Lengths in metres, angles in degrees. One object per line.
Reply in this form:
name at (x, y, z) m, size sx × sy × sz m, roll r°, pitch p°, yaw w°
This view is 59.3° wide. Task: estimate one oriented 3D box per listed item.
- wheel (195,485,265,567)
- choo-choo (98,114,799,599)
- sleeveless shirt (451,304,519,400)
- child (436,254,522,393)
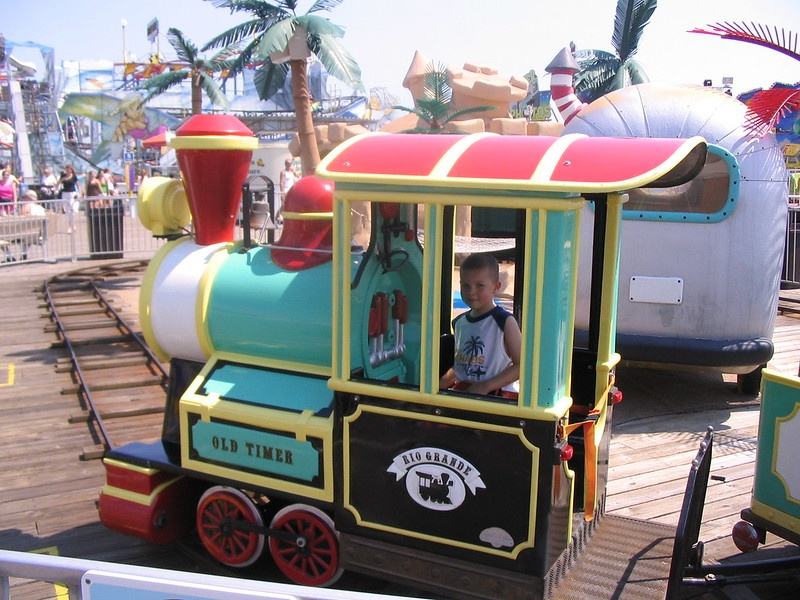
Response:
wheel at (-1.117, 1.511, 4.645) m, size 0.556 × 0.591 × 0.068 m, roll 4°, pitch 9°, yaw 25°
choo-choo at (0.517, 0.444, 4.863) m, size 3.503 × 2.617 × 1.604 m, roll 6°, pitch 13°, yaw 32°
sleeveless shirt at (0.495, 0.302, 4.370) m, size 0.422 × 0.536 × 0.312 m, roll 1°, pitch 2°, yaw 26°
child at (0.481, 0.172, 4.235) m, size 0.473 × 0.861 × 0.573 m, roll 2°, pitch 14°, yaw 7°
